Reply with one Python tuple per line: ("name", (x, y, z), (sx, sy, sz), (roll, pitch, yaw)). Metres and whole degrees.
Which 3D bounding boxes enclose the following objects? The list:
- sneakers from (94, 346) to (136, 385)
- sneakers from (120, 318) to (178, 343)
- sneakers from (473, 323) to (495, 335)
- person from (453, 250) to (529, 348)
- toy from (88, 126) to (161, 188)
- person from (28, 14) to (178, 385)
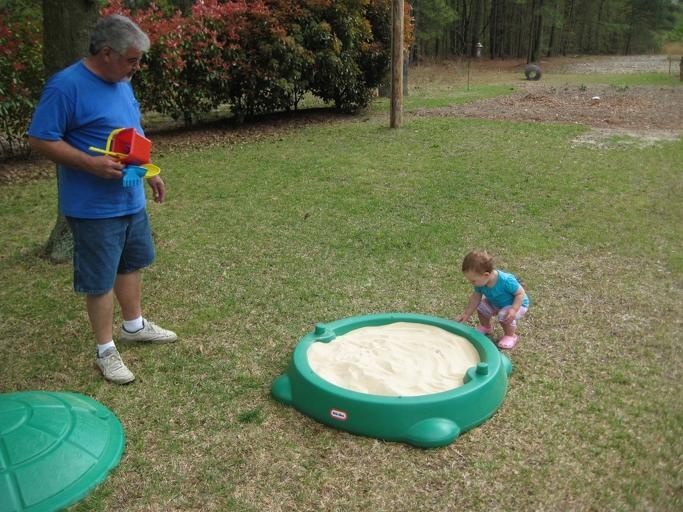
("sneakers", (-1.669, 0.797, 4.685), (0.391, 0.188, 0.155), (25, 37, 33))
("sneakers", (-1.525, 0.628, 5.118), (0.487, 0.231, 0.169), (0, 8, -14))
("sneakers", (1.187, 0.617, 5.202), (0.131, 0.061, 0.080), (5, 14, 6))
("person", (1.255, 0.341, 5.123), (0.541, 0.779, 0.496), (-13, 16, -38))
("toy", (-1.540, -0.694, 4.464), (0.438, 0.418, 0.253), (-9, 24, -24))
("person", (-1.692, -0.421, 4.589), (0.626, 2.513, 0.799), (13, 24, 27))
